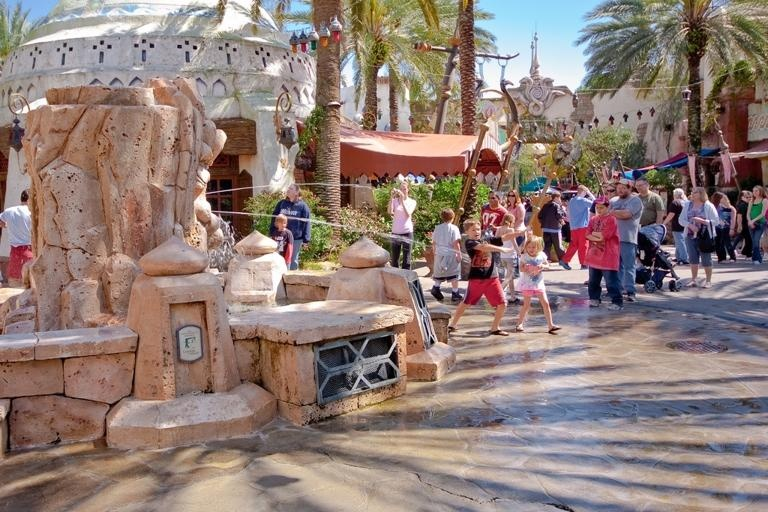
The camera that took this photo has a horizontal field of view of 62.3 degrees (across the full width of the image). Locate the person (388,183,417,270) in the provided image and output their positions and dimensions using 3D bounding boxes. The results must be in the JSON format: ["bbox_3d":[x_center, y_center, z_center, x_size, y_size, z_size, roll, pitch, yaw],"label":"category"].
[{"bbox_3d":[0.342,-0.557,12.206,0.449,1.773,1.103,-1,9,0],"label":"person"}]

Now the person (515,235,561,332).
[{"bbox_3d":[2.239,0.329,9.354,0.583,1.412,1.552,1,10,13],"label":"person"}]

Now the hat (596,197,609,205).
[{"bbox_3d":[3.434,-0.871,10.027,0.232,0.111,0.329,3,7,24],"label":"hat"}]

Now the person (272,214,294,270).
[{"bbox_3d":[-1.758,-0.228,10.953,0.351,0.991,0.565,-3,10,-9],"label":"person"}]

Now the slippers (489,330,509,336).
[{"bbox_3d":[1.565,1.050,8.665,0.179,0.055,0.095,0,0,29],"label":"slippers"}]

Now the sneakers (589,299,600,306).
[{"bbox_3d":[3.356,0.756,10.228,0.076,0.070,0.165,-4,-7,36],"label":"sneakers"}]

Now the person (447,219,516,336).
[{"bbox_3d":[1.400,0.249,9.177,0.875,1.614,1.540,1,10,11],"label":"person"}]

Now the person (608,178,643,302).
[{"bbox_3d":[4.011,-0.297,10.629,0.613,1.960,0.656,3,0,3],"label":"person"}]

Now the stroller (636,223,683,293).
[{"bbox_3d":[4.999,-0.051,11.511,0.928,1.084,0.924,-10,16,-21],"label":"stroller"}]

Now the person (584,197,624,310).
[{"bbox_3d":[3.431,-0.017,10.031,0.616,1.721,0.532,-6,10,-25],"label":"person"}]

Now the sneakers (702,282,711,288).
[{"bbox_3d":[5.949,0.530,11.747,0.113,0.093,0.233,-4,-3,28],"label":"sneakers"}]

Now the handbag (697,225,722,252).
[{"bbox_3d":[6.048,-0.337,11.958,0.295,0.500,0.668,6,12,36],"label":"handbag"}]

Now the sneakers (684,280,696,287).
[{"bbox_3d":[5.718,0.514,11.887,0.117,0.143,0.350,-4,-10,23],"label":"sneakers"}]

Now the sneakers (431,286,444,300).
[{"bbox_3d":[0.916,0.659,11.155,0.268,0.184,0.147,5,1,42],"label":"sneakers"}]

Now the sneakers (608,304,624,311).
[{"bbox_3d":[3.654,0.815,10.065,0.249,0.106,0.104,5,3,-1],"label":"sneakers"}]
